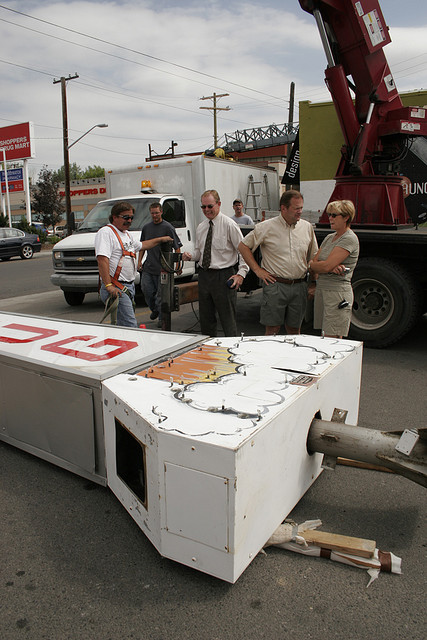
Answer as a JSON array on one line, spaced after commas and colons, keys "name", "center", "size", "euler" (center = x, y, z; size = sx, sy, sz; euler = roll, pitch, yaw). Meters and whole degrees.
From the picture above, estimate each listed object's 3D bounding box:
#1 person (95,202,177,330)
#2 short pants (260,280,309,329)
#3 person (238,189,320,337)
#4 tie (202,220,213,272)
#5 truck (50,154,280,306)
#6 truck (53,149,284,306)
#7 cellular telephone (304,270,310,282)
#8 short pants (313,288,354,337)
[{"name": "person", "center": [-0.896, -0.498, 4.486], "size": [0.442, 1.167, 0.392], "euler": [-5, 10, -25]}, {"name": "short pants", "center": [0.674, -0.184, 4.348], "size": [0.444, 0.518, 0.286], "euler": [-1, 36, 0]}, {"name": "person", "center": [0.579, -0.470, 4.215], "size": [0.706, 1.304, 0.549], "euler": [0, 9, 7]}, {"name": "tie", "center": [-0.053, -0.723, 4.653], "size": [0.092, 0.473, 0.081], "euler": [-7, 10, -32]}, {"name": "truck", "center": [-0.750, -1.908, 10.699], "size": [2.720, 2.997, 5.606], "euler": [1, 9, 34]}, {"name": "truck", "center": [-0.924, -1.977, 10.685], "size": [2.559, 2.991, 5.668], "euler": [0, 9, 29]}, {"name": "cellular telephone", "center": [0.862, -0.401, 4.373], "size": [0.033, 0.107, 0.194], "euler": [1, 9, 12]}, {"name": "short pants", "center": [1.056, -0.102, 4.260], "size": [0.235, 0.412, 0.418], "euler": [-2, 11, -23]}]
